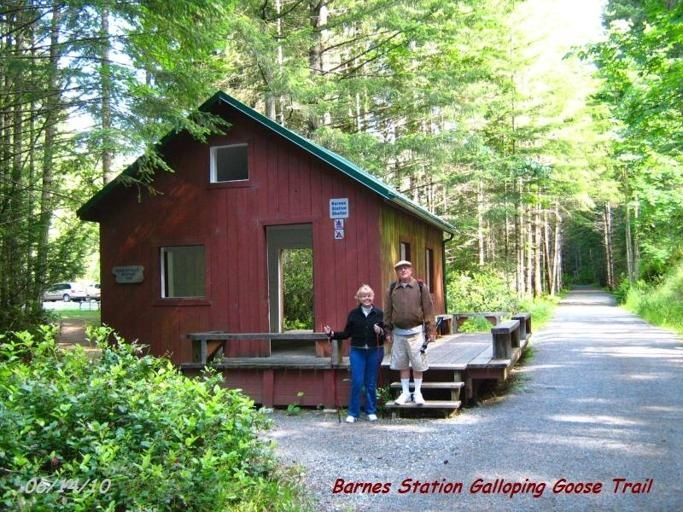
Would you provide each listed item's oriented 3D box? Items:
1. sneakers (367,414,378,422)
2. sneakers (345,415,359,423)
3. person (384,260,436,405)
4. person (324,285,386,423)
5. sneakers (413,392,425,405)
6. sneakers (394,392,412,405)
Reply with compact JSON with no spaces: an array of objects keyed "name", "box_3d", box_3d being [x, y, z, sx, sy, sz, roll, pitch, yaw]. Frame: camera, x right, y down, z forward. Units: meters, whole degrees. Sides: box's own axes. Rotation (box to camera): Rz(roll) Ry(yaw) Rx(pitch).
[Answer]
[{"name":"sneakers","box_3d":[0.509,2.720,10.783,0.170,0.107,0.203,0,-5,-1]},{"name":"sneakers","box_3d":[0.158,2.737,10.787,0.218,0.118,0.286,0,-5,-5]},{"name":"person","box_3d":[1.123,1.292,10.781,0.831,2.405,0.442,-1,-5,8]},{"name":"person","box_3d":[0.329,1.665,11.064,0.784,2.286,0.691,0,-5,-2]},{"name":"sneakers","box_3d":[1.287,2.360,10.676,0.177,0.241,0.146,-1,-5,6]},{"name":"sneakers","box_3d":[1.056,2.408,10.877,0.130,0.158,0.372,-7,-13,28]}]
